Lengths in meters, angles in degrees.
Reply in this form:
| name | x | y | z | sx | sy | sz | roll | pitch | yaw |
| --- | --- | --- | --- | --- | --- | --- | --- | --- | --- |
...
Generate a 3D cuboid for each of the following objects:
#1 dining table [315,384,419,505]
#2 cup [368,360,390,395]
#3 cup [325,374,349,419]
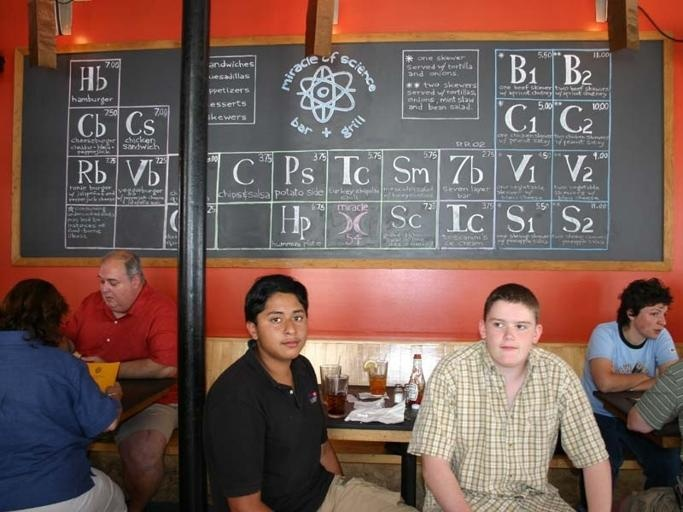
| name | x | y | z | sx | sy | sz | roll | pitch | yaw |
| --- | --- | --- | --- | --- | --- | --- | --- | --- | --- |
| dining table | 0.100 | 0.943 | 3.118 | 0.523 | 0.494 | 0.525 | -2 | -8 | 13 |
| cup | 0.187 | 0.635 | 3.256 | 0.145 | 0.217 | 0.144 | 0 | -5 | 0 |
| cup | -0.036 | 0.685 | 3.023 | 0.128 | 0.195 | 0.128 | 1 | -6 | 0 |
